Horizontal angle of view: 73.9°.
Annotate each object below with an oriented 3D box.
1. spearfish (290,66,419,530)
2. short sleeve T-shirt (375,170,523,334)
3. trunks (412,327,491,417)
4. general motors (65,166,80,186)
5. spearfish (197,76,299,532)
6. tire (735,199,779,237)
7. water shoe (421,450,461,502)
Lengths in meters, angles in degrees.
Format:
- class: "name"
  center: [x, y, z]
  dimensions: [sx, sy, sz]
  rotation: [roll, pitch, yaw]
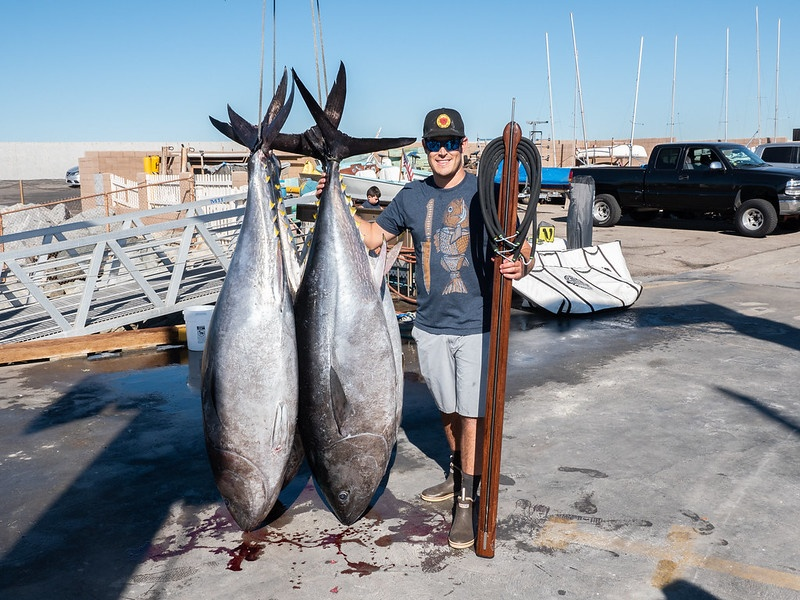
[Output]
- class: "spearfish"
  center: [-0.152, 0.057, 3.268]
  dimensions: [0.899, 2.143, 0.760]
  rotation: [-6, 1, 9]
- class: "short sleeve T-shirt"
  center: [0.296, -0.263, 3.273]
  dimensions: [0.896, 0.873, 0.220]
  rotation: [10, 7, 40]
- class: "trunks"
  center: [0.421, 0.430, 3.420]
  dimensions: [0.532, 0.595, 0.366]
  rotation: [0, 6, 42]
- class: "general motors"
  center: [-22.829, -8.662, 37.432]
  dimensions: [0.669, 1.453, 8.855]
  rotation: [-10, 16, -29]
- class: "spearfish"
  center: [-0.797, 0.163, 2.912]
  dimensions: [0.613, 2.516, 0.444]
  rotation: [-10, 17, -28]
- class: "tire"
  center: [9.866, -2.320, 14.761]
  dimensions: [0.372, 1.006, 1.029]
  rotation: [-9, 12, -32]
- class: "water shoe"
  center: [0.389, 1.284, 3.828]
  dimensions: [0.476, 0.306, 0.188]
  rotation: [4, -2, -43]
